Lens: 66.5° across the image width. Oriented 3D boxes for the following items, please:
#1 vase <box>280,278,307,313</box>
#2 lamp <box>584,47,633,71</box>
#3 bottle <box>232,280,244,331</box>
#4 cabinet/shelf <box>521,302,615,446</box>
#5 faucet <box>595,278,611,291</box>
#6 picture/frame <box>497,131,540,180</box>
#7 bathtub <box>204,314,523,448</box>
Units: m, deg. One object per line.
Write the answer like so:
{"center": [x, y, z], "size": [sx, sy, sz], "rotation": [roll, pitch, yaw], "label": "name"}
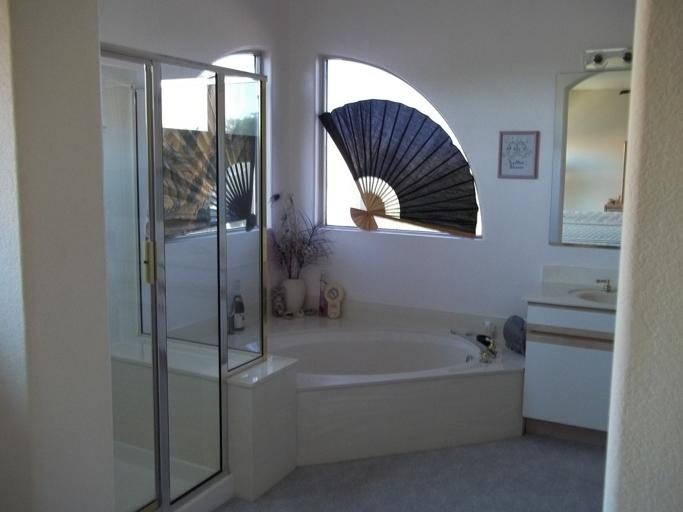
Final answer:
{"center": [-0.422, 0.369, 4.674], "size": [0.241, 0.354, 0.254], "rotation": [0, -3, -4], "label": "vase"}
{"center": [1.824, -1.359, 3.573], "size": [0.293, 0.159, 0.173], "rotation": [7, 12, 28], "label": "lamp"}
{"center": [-0.554, 0.264, 2.783], "size": [0.020, 0.272, 0.096], "rotation": [6, 10, 25], "label": "bottle"}
{"center": [1.536, 0.703, 3.574], "size": [0.709, 0.846, 0.717], "rotation": [0, 4, -34], "label": "cabinet/shelf"}
{"center": [1.834, 0.205, 3.691], "size": [0.115, 0.104, 0.063], "rotation": [0, 5, 9], "label": "faucet"}
{"center": [1.355, -0.772, 3.959], "size": [0.332, 0.427, 0.032], "rotation": [4, 8, 32], "label": "picture/frame"}
{"center": [0.185, 0.818, 3.777], "size": [2.041, 0.694, 1.388], "rotation": [-3, 11, -22], "label": "bathtub"}
